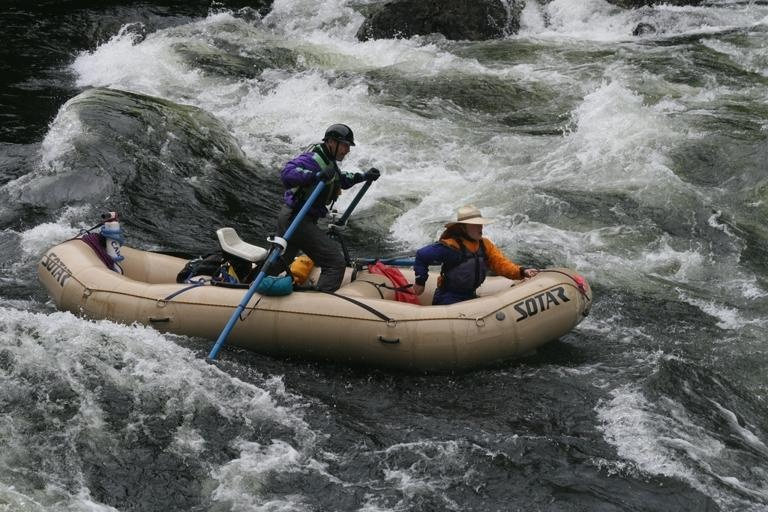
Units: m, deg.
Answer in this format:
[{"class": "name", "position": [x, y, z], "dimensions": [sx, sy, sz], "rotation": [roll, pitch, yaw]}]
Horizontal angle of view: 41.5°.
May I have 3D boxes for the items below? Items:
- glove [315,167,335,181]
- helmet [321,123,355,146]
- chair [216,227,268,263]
[{"class": "glove", "position": [-0.895, -1.289, 15.912], "dimensions": [0.221, 0.085, 0.218], "rotation": [32, 54, 21]}, {"class": "helmet", "position": [-0.724, -1.947, 16.172], "dimensions": [0.484, 0.229, 0.355], "rotation": [12, 9, 2]}, {"class": "chair", "position": [-2.326, -0.146, 16.360], "dimensions": [0.864, 0.342, 0.463], "rotation": [22, 33, 16]}]
